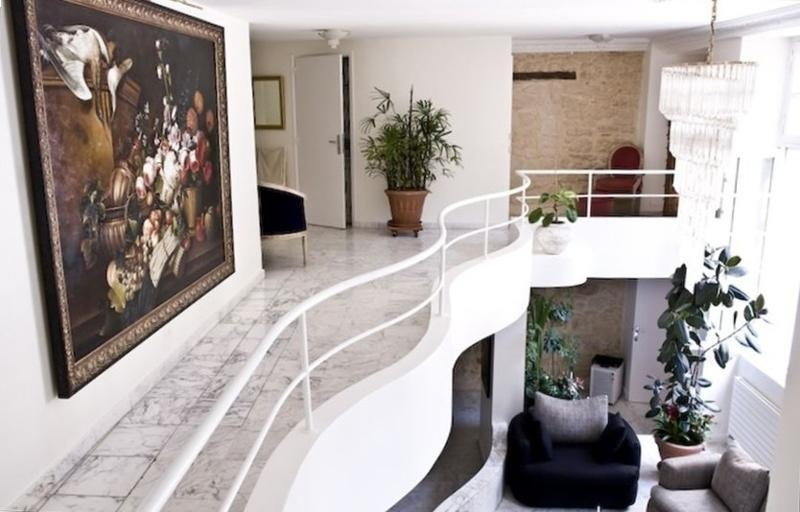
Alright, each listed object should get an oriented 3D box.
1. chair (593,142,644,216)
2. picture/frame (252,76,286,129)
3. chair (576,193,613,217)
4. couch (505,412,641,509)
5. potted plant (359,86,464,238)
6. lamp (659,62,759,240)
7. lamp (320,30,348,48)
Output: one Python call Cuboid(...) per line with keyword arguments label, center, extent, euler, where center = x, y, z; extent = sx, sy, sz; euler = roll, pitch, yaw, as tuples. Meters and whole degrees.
Cuboid(label="chair", center=(3.617, -1.327, 8.919), extent=(0.735, 1.043, 2.053), euler=(4, 13, 23))
Cuboid(label="picture/frame", center=(-2.112, -2.490, 8.702), extent=(0.547, 0.848, 0.089), euler=(1, 14, 13))
Cuboid(label="chair", center=(2.963, -0.794, 8.374), extent=(0.530, 0.266, 0.642), euler=(-4, 12, -11))
Cuboid(label="couch", center=(2.431, 2.992, 7.470), extent=(1.498, 0.914, 1.370), euler=(0, -7, 6))
Cuboid(label="potted plant", center=(0.168, -1.497, 8.329), extent=(1.500, 2.274, 0.856), euler=(-2, 13, -4))
Cuboid(label="lamp", center=(3.289, -1.102, 5.900), extent=(0.594, 1.982, 1.161), euler=(-2, 13, 0))
Cuboid(label="lamp", center=(-0.920, -3.067, 7.539), extent=(0.366, 0.167, 0.488), euler=(-7, 13, -25))
